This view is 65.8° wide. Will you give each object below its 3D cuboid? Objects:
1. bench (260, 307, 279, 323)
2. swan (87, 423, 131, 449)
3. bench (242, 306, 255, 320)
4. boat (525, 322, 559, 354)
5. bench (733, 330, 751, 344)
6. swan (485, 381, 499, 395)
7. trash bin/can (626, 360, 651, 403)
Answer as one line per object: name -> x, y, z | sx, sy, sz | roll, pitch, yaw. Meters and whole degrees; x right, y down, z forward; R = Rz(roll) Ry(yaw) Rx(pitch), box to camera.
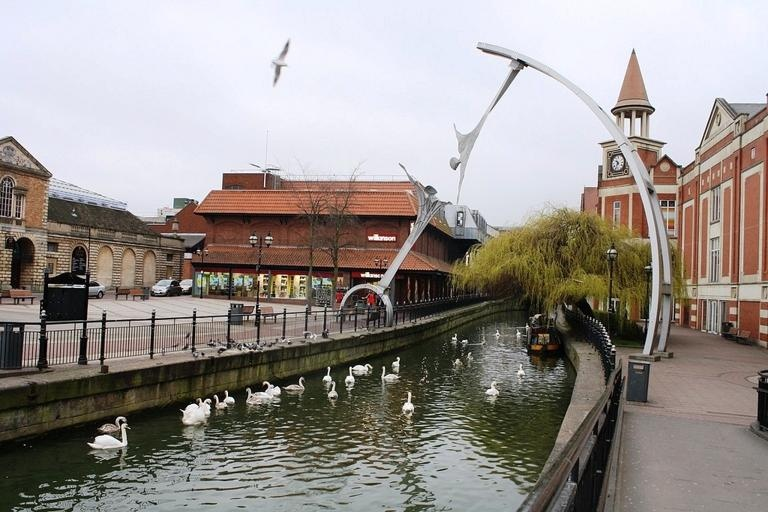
bench -> -6.741, 3.432, 34.104 | 0.513, 0.874, 1.391 | -1, -1, 23
swan -> -8.201, 5.336, 17.456 | 1.234, 0.936, 0.518 | 2, -5, -16
bench -> -7.657, 3.208, 33.009 | 0.708, 0.726, 1.151 | -1, 0, -2
boat -> 9.661, 5.205, 36.074 | 1.715, 1.751, 2.365 | 2, 6, -5
bench -> 21.085, 4.810, 34.722 | 0.682, 0.672, 0.669 | 6, -8, -40
swan -> 4.467, 5.501, 24.472 | 0.580, 0.601, 0.542 | -1, 2, -2
trash bin/can -> 8.140, 3.990, 19.013 | 0.650, 1.279, 0.778 | 5, 7, 23
